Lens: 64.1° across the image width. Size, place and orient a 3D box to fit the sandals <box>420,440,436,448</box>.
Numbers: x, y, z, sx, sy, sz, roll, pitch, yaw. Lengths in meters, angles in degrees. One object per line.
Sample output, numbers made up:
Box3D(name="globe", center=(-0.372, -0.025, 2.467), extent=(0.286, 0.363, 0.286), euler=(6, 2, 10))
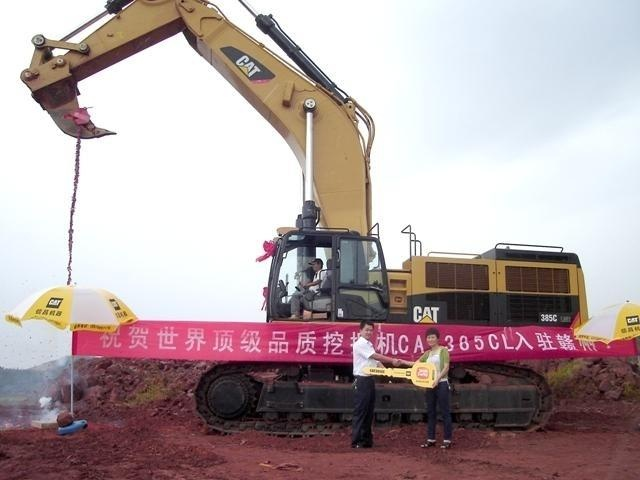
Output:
Box3D(name="sandals", center=(1.832, 3.551, 8.879), extent=(0.341, 0.137, 0.132), euler=(5, -14, -1))

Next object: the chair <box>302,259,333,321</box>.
Box3D(name="chair", center=(0.044, 1.110, 10.837), extent=(0.942, 1.325, 0.799), euler=(2, -6, 1))

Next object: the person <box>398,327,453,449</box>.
Box3D(name="person", center=(2.088, 2.666, 9.327), extent=(0.532, 2.091, 1.526), euler=(-1, -8, 13))

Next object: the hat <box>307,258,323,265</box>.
Box3D(name="hat", center=(-0.076, 0.458, 10.450), extent=(0.214, 0.112, 0.141), euler=(13, -9, -2))

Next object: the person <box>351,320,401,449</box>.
Box3D(name="person", center=(0.852, 2.540, 8.964), extent=(0.559, 2.173, 0.769), euler=(3, -8, -13))
